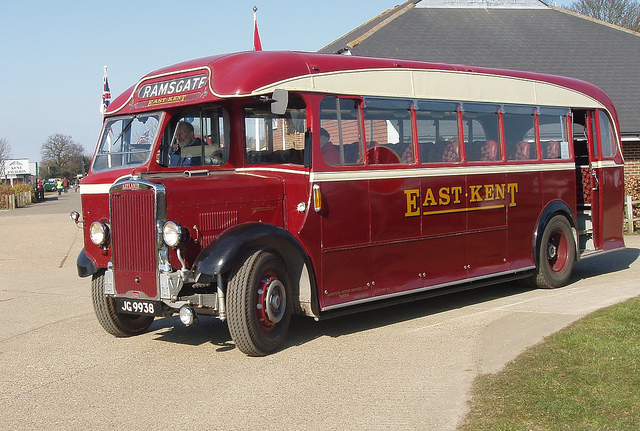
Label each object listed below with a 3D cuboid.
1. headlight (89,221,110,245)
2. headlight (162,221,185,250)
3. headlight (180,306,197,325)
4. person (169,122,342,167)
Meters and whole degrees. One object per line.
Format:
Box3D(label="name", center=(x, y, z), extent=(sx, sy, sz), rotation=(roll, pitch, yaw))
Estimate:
Box3D(label="headlight", center=(-3.291, 0.230, 8.406), extent=(0.364, 0.408, 0.271), rotation=(3, 2, 39))
Box3D(label="headlight", center=(-1.984, 0.258, 7.696), extent=(0.412, 0.455, 0.261), rotation=(2, -1, 40))
Box3D(label="headlight", center=(-1.826, 1.398, 7.743), extent=(0.210, 0.283, 0.227), rotation=(-2, 5, -4))
Box3D(label="person", center=(-1.560, -1.060, 8.874), extent=(1.248, 0.607, 1.275), rotation=(-1, 1, -30))
